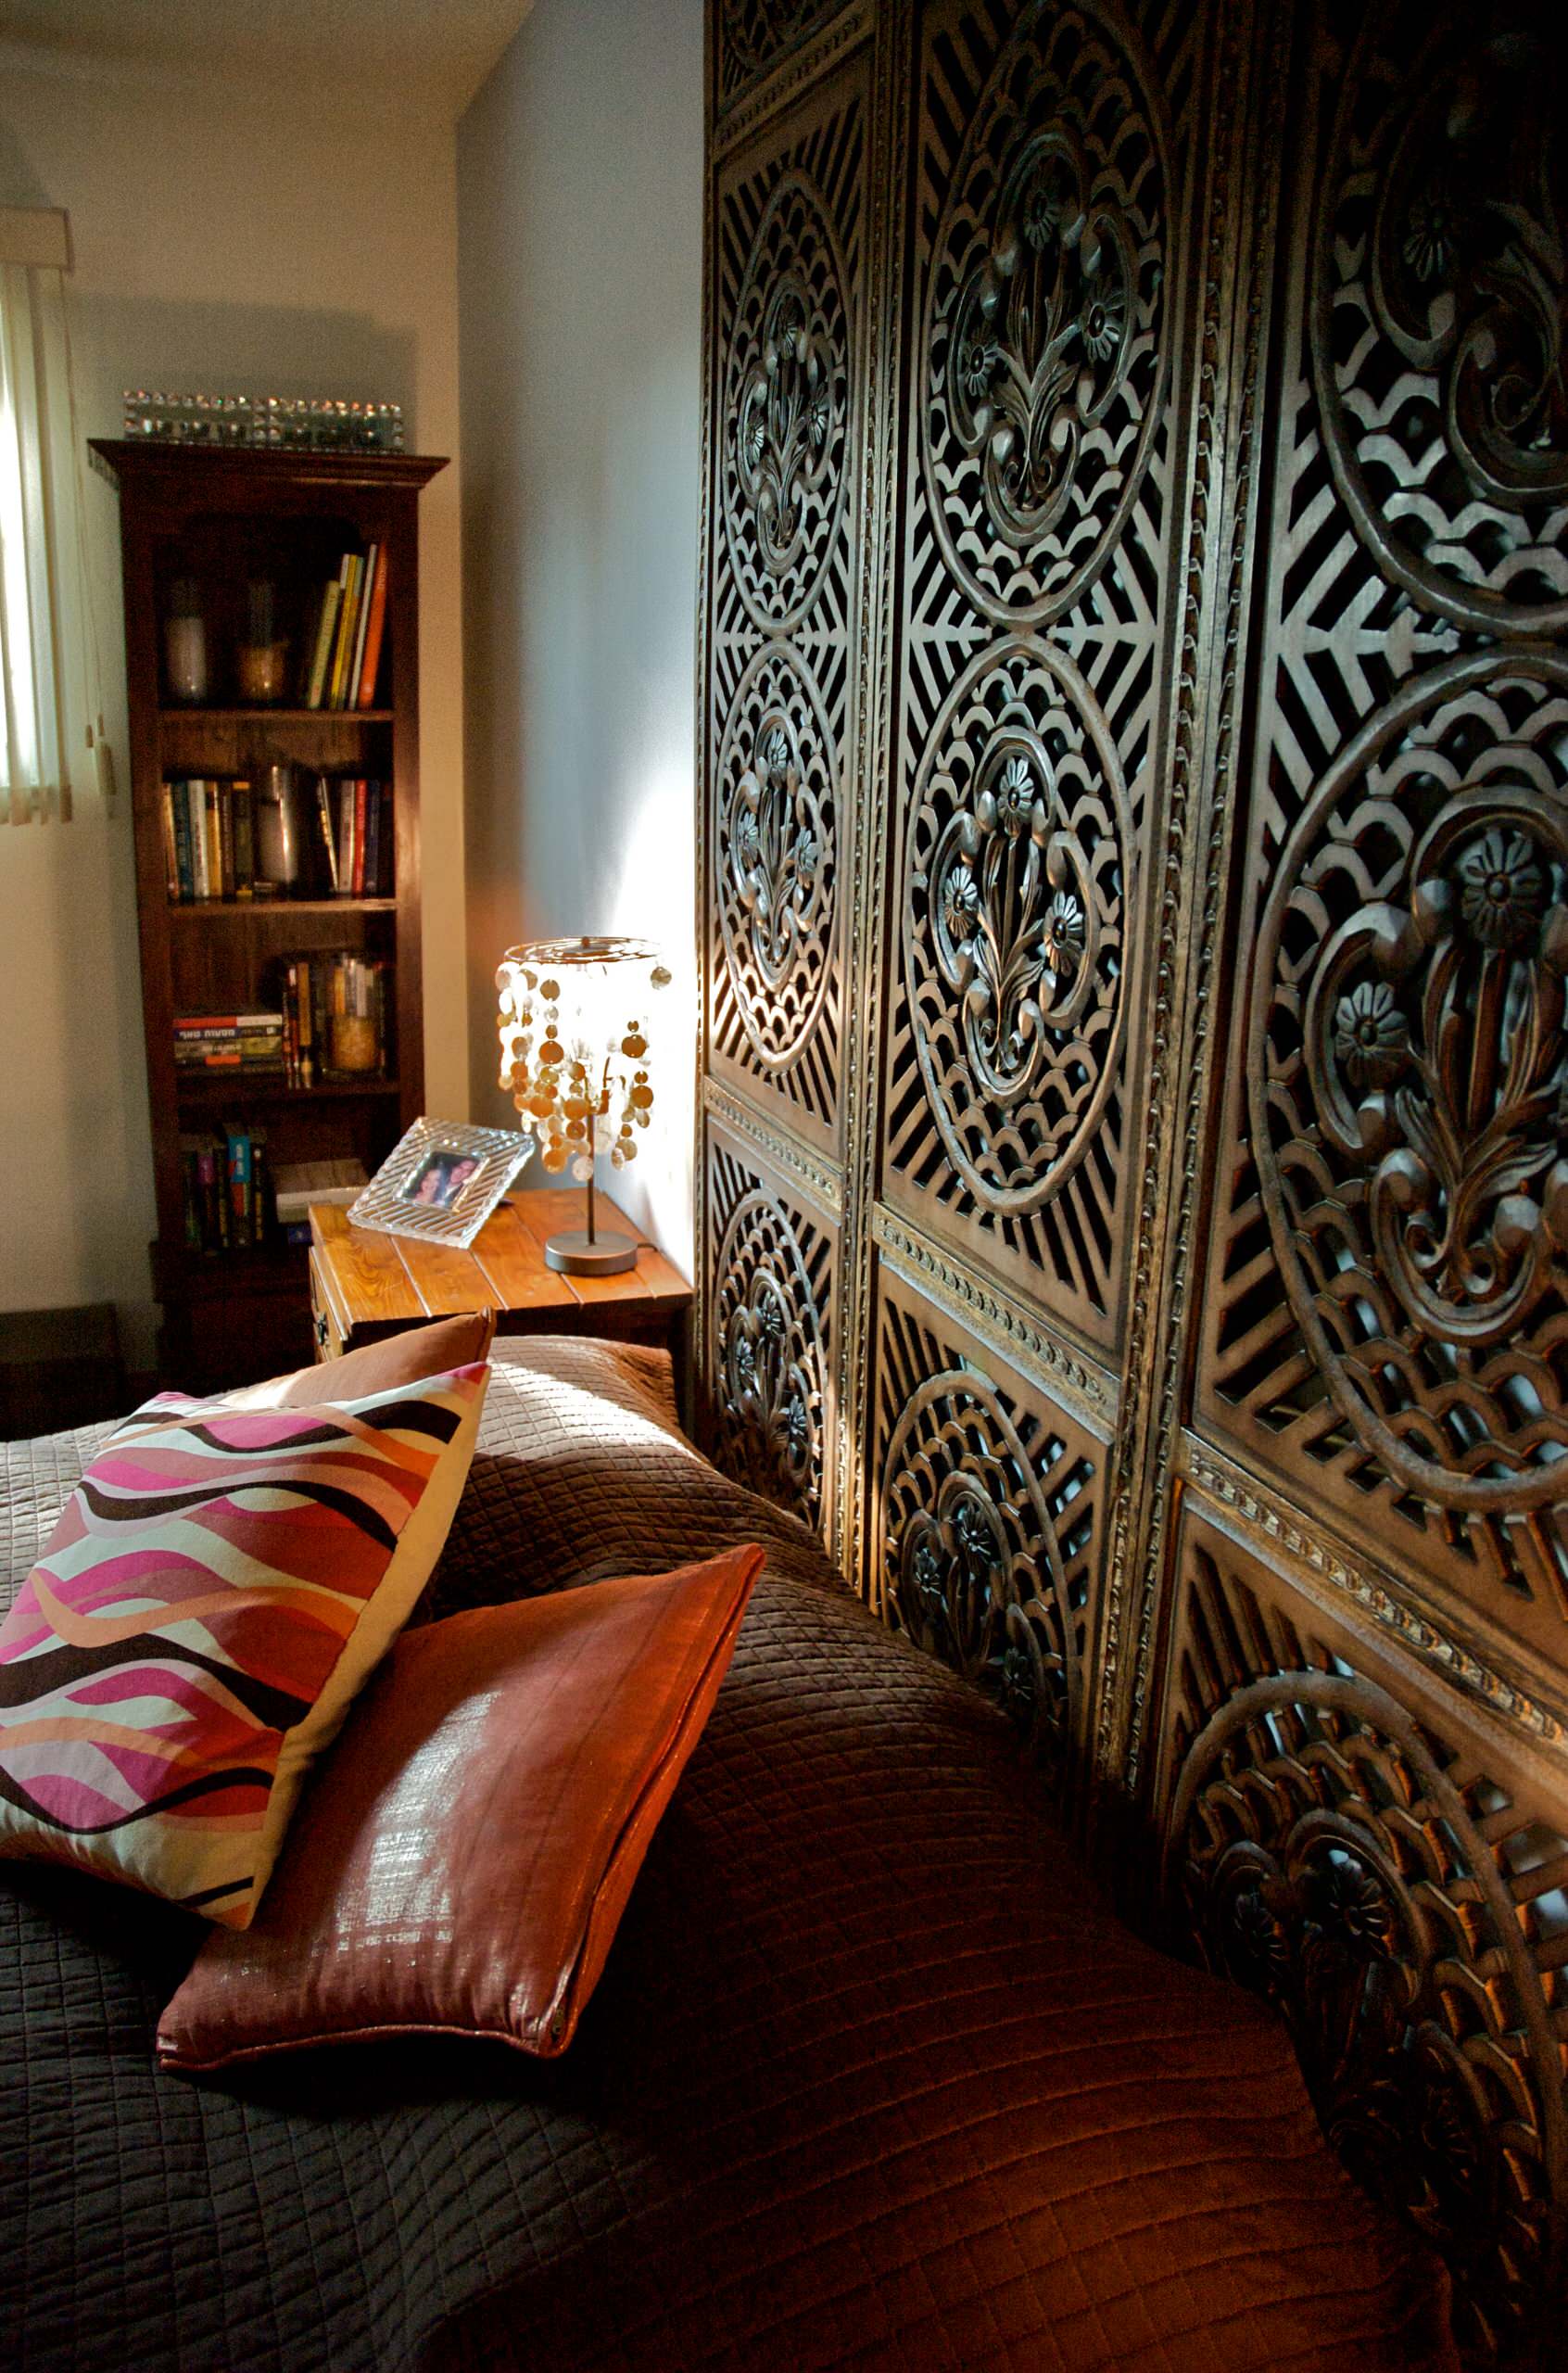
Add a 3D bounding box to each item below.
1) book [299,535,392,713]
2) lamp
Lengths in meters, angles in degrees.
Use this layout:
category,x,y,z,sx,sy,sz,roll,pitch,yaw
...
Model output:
category,x,y,z,sx,sy,sz,roll,pitch,yaw
book,-0.919,-1.162,3.432,0.255,0.286,0.293,5,27,-16
lamp,-0.315,-0.117,2.470,0.217,0.461,0.229,-1,8,19
